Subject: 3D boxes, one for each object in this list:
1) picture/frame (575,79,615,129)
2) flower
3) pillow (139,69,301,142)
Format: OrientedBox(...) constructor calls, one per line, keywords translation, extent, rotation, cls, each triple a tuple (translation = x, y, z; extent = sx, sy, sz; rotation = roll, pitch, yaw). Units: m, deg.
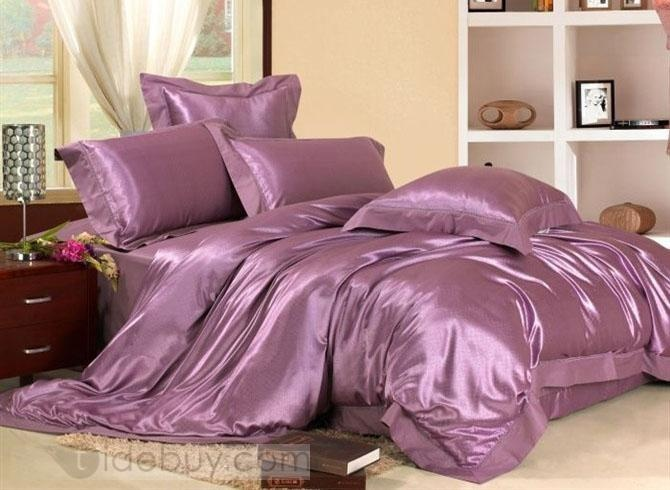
OrientedBox(translation=(2.367, -1.286, 5.375), extent=(0.351, 0.422, 0.116), rotation=(3, 12, 16), cls="picture/frame")
OrientedBox(translation=(-1.320, 0.058, 2.862), extent=(0.583, 0.284, 0.313), rotation=(3, 1, -22), cls="flower")
OrientedBox(translation=(-0.749, -0.873, 3.709), extent=(0.915, 0.614, 0.171), rotation=(-1, -7, -25), cls="pillow")
